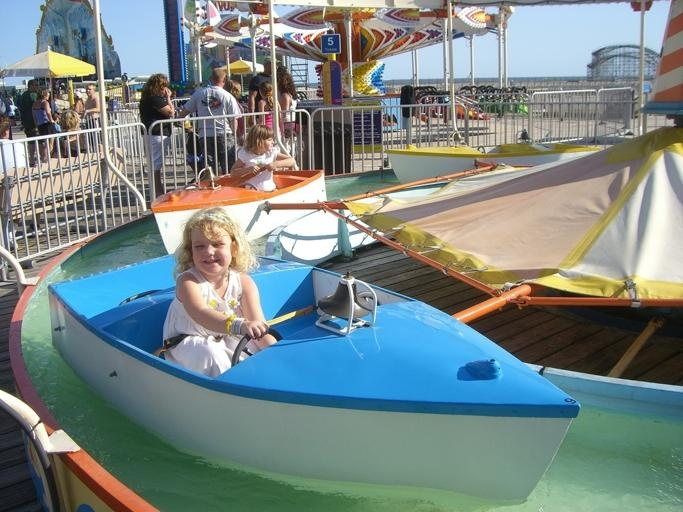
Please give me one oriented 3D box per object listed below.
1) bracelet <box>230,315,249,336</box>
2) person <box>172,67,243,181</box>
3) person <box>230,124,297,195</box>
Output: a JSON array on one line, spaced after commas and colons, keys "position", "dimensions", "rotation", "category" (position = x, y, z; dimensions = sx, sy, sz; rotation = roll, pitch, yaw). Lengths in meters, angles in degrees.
[{"position": [-0.513, 0.349, 2.683], "dimensions": [0.073, 0.060, 0.088], "rotation": [-4, 3, -3], "category": "bracelet"}, {"position": [-1.973, -2.053, 8.208], "dimensions": [0.852, 1.632, 1.423], "rotation": [-5, 13, -10], "category": "person"}, {"position": [-0.999, -1.156, 6.358], "dimensions": [0.689, 0.744, 0.781], "rotation": [1, 13, 13], "category": "person"}]
